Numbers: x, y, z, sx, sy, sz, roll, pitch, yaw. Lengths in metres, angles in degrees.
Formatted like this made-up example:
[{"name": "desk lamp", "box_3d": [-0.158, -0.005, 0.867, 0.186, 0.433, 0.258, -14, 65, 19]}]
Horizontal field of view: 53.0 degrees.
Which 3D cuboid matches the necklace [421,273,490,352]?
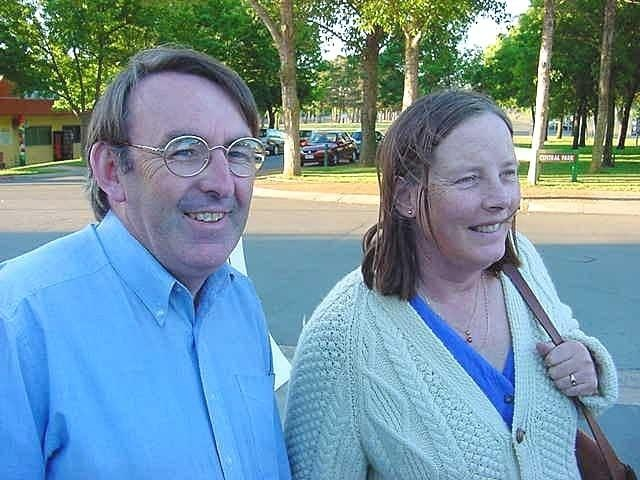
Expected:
[{"name": "necklace", "box_3d": [0.552, 0.277, 2.628, 0.194, 0.099, 0.354, -9, 43, -25]}]
